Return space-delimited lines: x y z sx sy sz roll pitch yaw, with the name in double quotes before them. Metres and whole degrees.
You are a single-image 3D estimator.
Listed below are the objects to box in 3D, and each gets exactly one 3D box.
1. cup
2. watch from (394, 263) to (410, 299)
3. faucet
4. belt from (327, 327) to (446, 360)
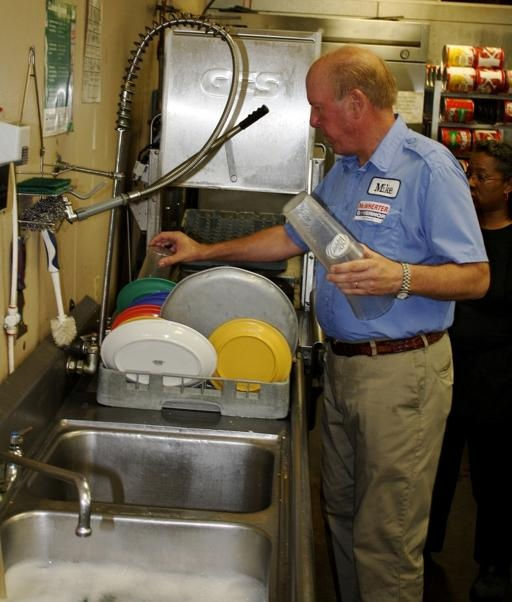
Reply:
"cup" 0.159 -0.078 1.101 0.230 0.254 0.161 5 12 9
"watch" 0.289 -0.038 1.104 0.025 0.071 0.033 5 12 10
"faucet" -0.309 0.297 0.831 0.114 0.129 0.177 -2 13 -23
"belt" 0.311 0.103 1.361 0.273 0.090 0.128 5 12 13
